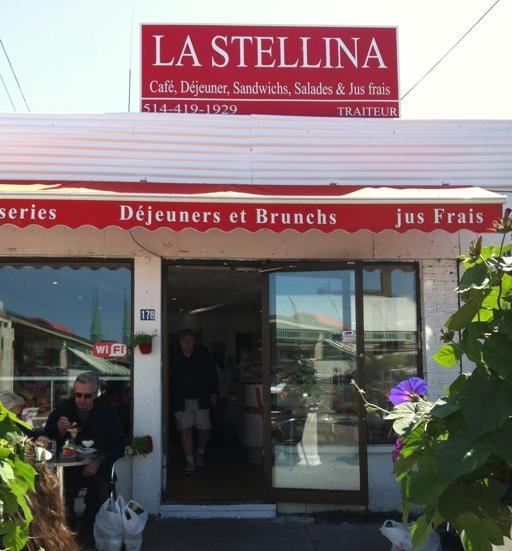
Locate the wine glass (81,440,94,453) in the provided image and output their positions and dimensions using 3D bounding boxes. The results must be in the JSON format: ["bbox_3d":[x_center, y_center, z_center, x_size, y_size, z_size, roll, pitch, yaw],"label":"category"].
[{"bbox_3d":[-1.363,1.404,6.171,0.105,0.071,0.101,4,-6,-19],"label":"wine glass"}]
